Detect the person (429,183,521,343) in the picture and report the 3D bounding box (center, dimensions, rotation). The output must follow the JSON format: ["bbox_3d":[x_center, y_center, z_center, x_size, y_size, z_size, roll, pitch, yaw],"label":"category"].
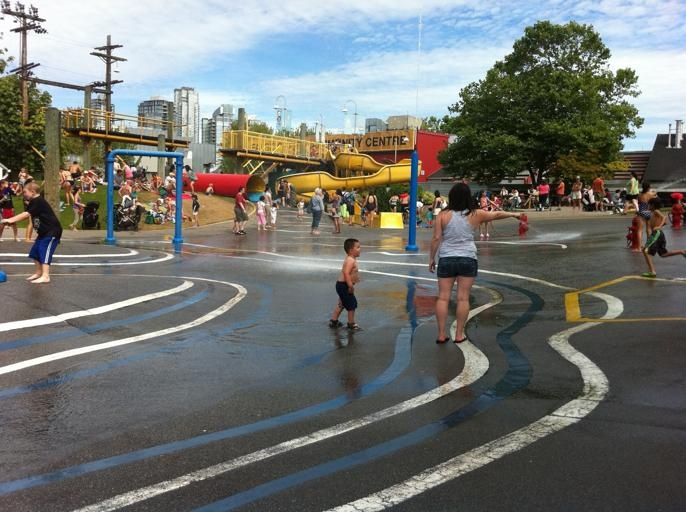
[{"bbox_3d":[1.459,0.059,7.875,1.000,1.975,0.707,-6,9,-38],"label":"person"}]

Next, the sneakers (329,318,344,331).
[{"bbox_3d":[-0.087,0.941,8.569,0.186,0.109,0.098,-8,12,-22],"label":"sneakers"}]

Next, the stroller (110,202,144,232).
[{"bbox_3d":[-9.578,-1.708,27.563,0.992,0.795,1.526,4,12,-15],"label":"stroller"}]

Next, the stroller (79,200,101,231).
[{"bbox_3d":[-10.916,-1.730,26.825,0.737,1.167,1.068,-4,8,-22],"label":"stroller"}]

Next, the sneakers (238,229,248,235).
[{"bbox_3d":[-4.482,-1.034,27.599,0.146,0.188,0.456,-5,-8,-28],"label":"sneakers"}]

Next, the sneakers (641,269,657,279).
[{"bbox_3d":[6.194,0.384,12.703,0.159,0.154,0.380,-12,14,-31],"label":"sneakers"}]

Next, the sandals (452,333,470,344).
[{"bbox_3d":[1.454,1.022,7.626,0.219,0.073,0.071,-15,7,11],"label":"sandals"}]

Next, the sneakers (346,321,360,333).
[{"bbox_3d":[0.132,0.968,8.421,0.225,0.142,0.076,-9,12,-13],"label":"sneakers"}]
